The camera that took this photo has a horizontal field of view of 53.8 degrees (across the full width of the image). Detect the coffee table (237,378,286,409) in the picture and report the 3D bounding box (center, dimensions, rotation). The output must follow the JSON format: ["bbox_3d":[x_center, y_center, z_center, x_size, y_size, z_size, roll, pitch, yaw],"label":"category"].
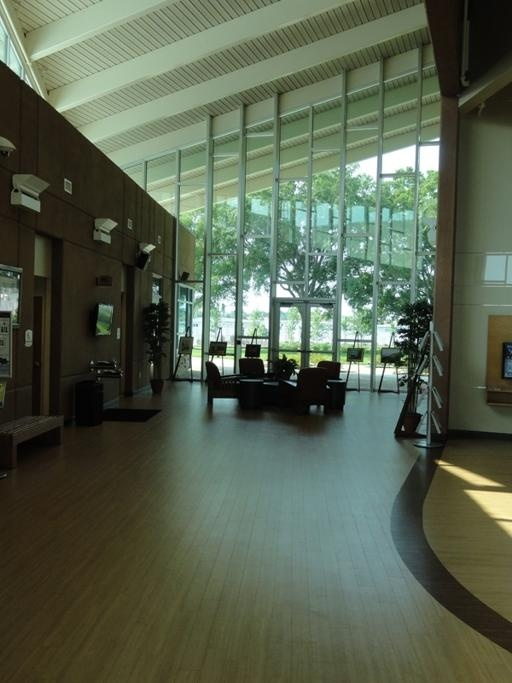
[{"bbox_3d":[0.038,1.033,9.751,0.545,0.450,0.626,0,1,14],"label":"coffee table"}]

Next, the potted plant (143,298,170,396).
[{"bbox_3d":[-2.296,0.152,11.721,0.550,2.056,1.017,0,2,-14],"label":"potted plant"}]

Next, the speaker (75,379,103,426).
[{"bbox_3d":[-2.472,0.929,7.560,0.379,0.657,0.282,-1,2,-25],"label":"speaker"}]

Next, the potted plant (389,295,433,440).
[{"bbox_3d":[2.394,0.363,7.739,0.508,1.974,1.661,1,2,17],"label":"potted plant"}]

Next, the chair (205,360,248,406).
[{"bbox_3d":[-0.605,0.823,9.989,0.682,1.014,0.674,0,0,-2],"label":"chair"}]

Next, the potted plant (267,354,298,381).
[{"bbox_3d":[0.518,0.525,10.477,0.454,0.563,0.496,0,-8,33],"label":"potted plant"}]

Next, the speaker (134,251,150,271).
[{"bbox_3d":[-2.418,-1.737,10.914,0.172,0.340,0.500,1,3,9],"label":"speaker"}]

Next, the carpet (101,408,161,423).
[{"bbox_3d":[-2.105,1.249,8.610,0.892,0.048,1.613,0,3,-14],"label":"carpet"}]

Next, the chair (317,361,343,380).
[{"bbox_3d":[1.523,0.570,10.537,0.361,0.606,0.442,0,-6,12],"label":"chair"}]

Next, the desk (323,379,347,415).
[{"bbox_3d":[1.515,1.058,9.653,0.361,0.871,0.800,1,-3,-1],"label":"desk"}]

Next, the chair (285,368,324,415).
[{"bbox_3d":[0.857,0.850,9.360,0.653,0.957,0.687,0,5,-2],"label":"chair"}]
